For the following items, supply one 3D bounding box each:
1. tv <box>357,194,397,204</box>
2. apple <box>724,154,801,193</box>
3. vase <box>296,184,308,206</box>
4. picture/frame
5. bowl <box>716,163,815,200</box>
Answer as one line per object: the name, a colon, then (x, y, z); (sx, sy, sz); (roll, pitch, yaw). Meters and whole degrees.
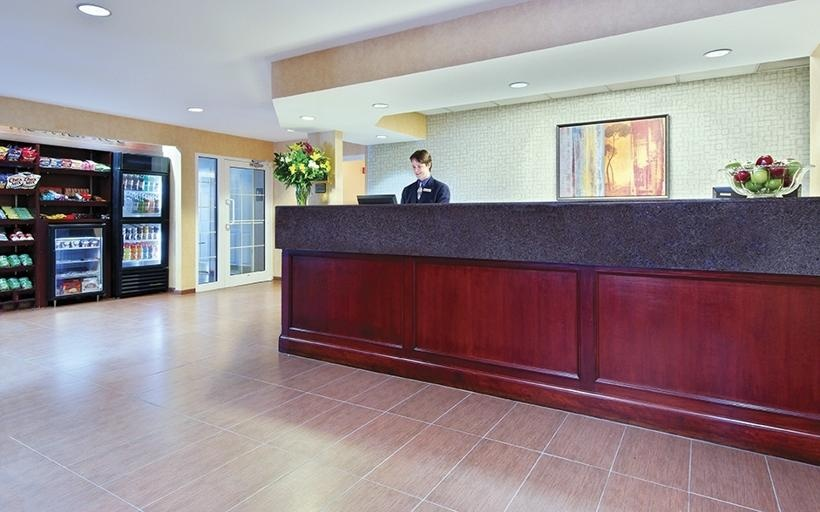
tv: (-0.342, -0.609, 5.273); (0.298, 0.065, 0.200); (0, 1, 20)
apple: (2.703, -0.591, 3.716); (0.388, 0.199, 0.389); (-4, -4, 40)
vase: (-1.385, -0.799, 6.252); (0.150, 0.260, 0.258); (-2, 9, -18)
picture/frame: (2.800, -1.347, 6.748); (1.503, 1.130, 0.195); (5, 10, 27)
bowl: (2.730, -0.568, 3.690); (0.428, 0.167, 0.416); (-2, 3, 0)
